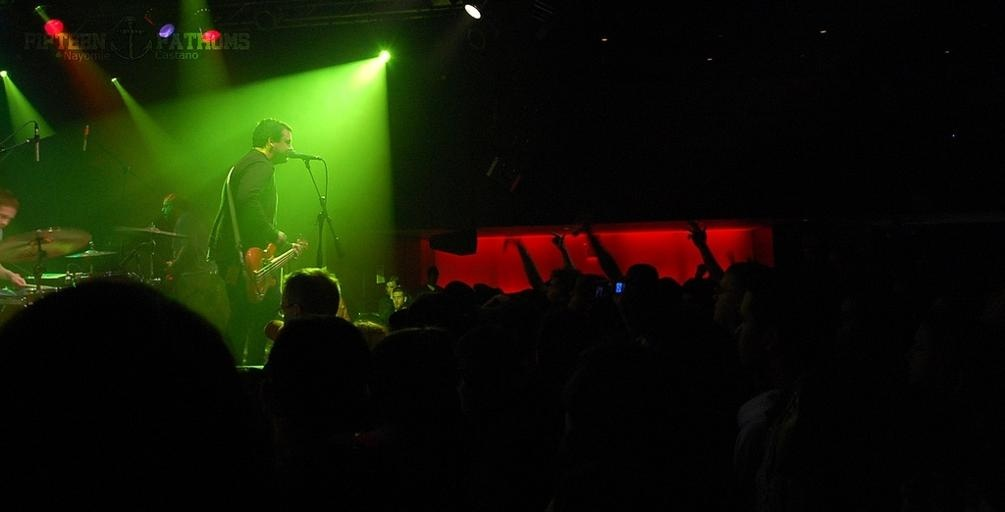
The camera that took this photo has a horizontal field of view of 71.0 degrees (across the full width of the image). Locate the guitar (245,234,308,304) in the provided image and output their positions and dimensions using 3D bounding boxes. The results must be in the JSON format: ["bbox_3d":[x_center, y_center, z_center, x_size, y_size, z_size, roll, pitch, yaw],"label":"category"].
[{"bbox_3d":[-2.596,0.059,8.330,0.149,0.400,0.894,-7,19,24],"label":"guitar"}]
